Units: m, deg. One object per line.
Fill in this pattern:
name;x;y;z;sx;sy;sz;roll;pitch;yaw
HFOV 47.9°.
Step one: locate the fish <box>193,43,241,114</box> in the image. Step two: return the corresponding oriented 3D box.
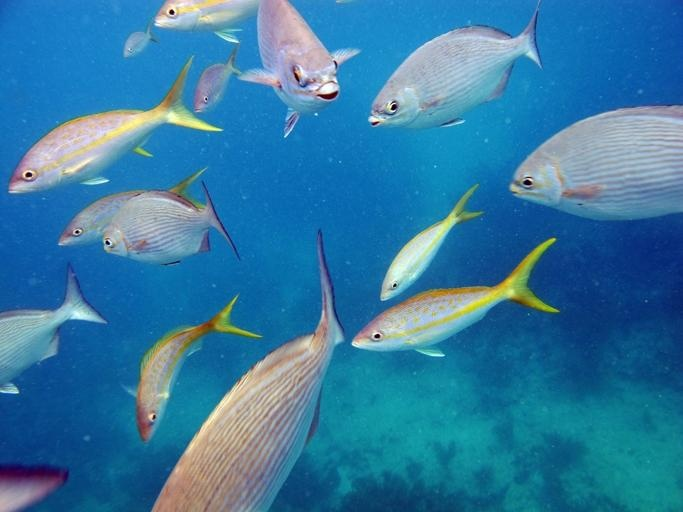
fish;-1.618;-2.320;10.204;0.203;0.511;1.130;9;46;28
